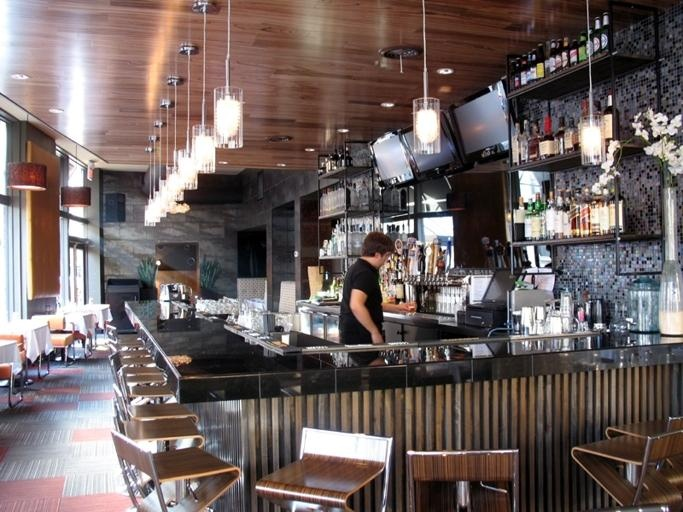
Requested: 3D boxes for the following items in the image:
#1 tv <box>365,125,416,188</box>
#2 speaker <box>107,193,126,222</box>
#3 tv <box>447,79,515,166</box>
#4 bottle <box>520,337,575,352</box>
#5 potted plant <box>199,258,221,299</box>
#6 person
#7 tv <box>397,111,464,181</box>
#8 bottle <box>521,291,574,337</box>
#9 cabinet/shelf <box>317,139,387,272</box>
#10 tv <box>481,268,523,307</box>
[{"bbox_3d":[0.608,-1.214,8.067,0.332,0.653,0.612,-21,38,-8],"label":"tv"},{"bbox_3d":[-5.761,-1.218,16.980,0.537,0.735,0.378,-1,-4,-24],"label":"speaker"},{"bbox_3d":[1.363,-1.294,6.428,0.117,0.672,0.888,-17,9,-22],"label":"tv"},{"bbox_3d":[1.384,0.594,4.477,0.335,0.072,0.564,-4,-5,18],"label":"bottle"},{"bbox_3d":[-3.553,0.596,18.138,0.572,1.092,0.606,-2,-4,-14],"label":"potted plant"},{"bbox_3d":[0.220,0.626,5.679,0.465,1.608,0.664,1,9,2],"label":"person"},{"bbox_3d":[0.890,-1.057,6.467,0.118,0.687,0.909,-19,13,-20],"label":"tv"},{"bbox_3d":[1.535,0.424,5.023,0.316,0.355,0.343,3,-7,-13],"label":"bottle"},{"bbox_3d":[0.154,-0.728,8.573,0.458,2.008,1.669,0,-1,-12],"label":"cabinet/shelf"},{"bbox_3d":[1.403,0.277,5.970,0.344,0.311,0.309,-5,-5,33],"label":"tv"}]
